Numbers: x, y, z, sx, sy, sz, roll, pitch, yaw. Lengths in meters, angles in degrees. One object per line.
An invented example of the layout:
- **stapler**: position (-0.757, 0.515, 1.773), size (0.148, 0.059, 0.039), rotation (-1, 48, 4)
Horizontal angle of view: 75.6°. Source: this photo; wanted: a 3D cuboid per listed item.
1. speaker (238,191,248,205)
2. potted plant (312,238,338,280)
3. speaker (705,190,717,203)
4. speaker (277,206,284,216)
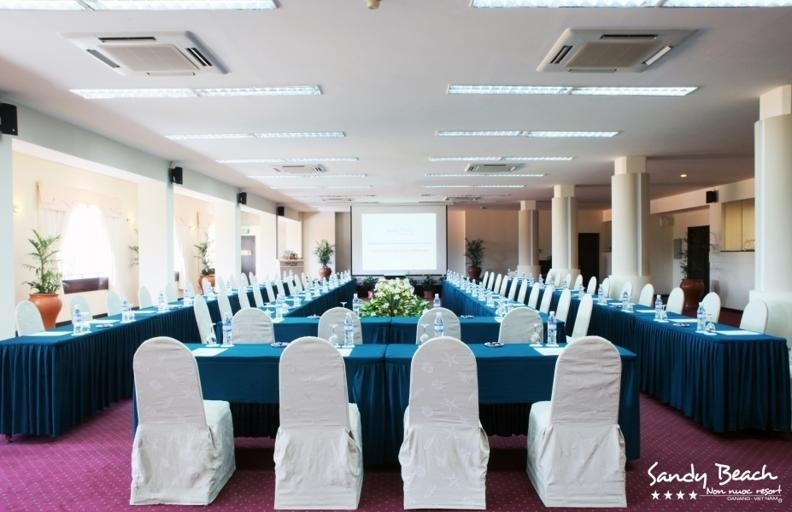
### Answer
- **speaker**: position (-4.453, -1.676, 14.815), size (0.221, 0.401, 0.413), rotation (-1, -4, 16)
- **potted plant**: position (-3.130, 0.226, 21.403), size (0.773, 1.646, 0.946), rotation (14, 4, -14)
- **speaker**: position (8.980, -1.693, 14.578), size (0.192, 0.364, 0.376), rotation (0, -3, -7)
- **speaker**: position (-4.207, -1.627, 18.573), size (0.169, 0.321, 0.340), rotation (1, 4, 19)
